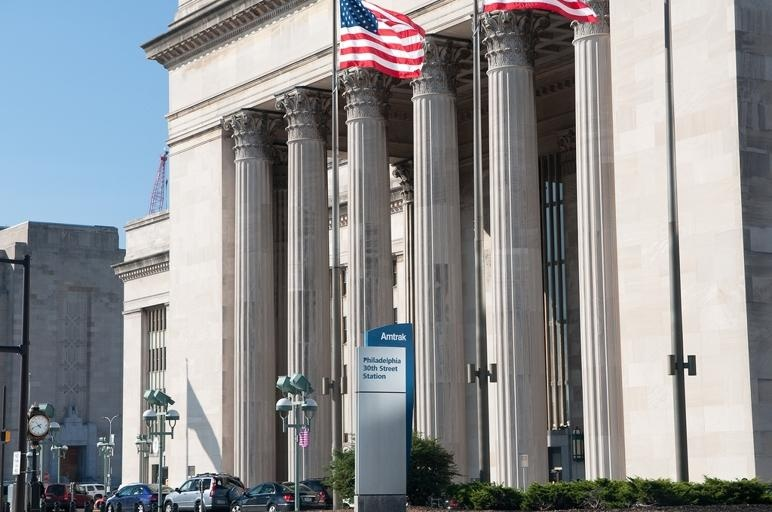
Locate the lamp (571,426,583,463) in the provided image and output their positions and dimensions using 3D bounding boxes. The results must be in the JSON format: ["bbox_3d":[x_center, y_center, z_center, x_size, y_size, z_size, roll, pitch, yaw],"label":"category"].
[{"bbox_3d":[9.476,9.389,92.812,0.197,1.747,0.795,13,-23,-41],"label":"lamp"}]

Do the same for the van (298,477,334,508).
[{"bbox_3d":[-3.033,11.363,89.310,1.360,1.190,2.366,0,-4,0],"label":"van"}]

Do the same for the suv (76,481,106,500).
[{"bbox_3d":[-18.994,15.632,124.374,1.229,0.983,2.033,-7,-19,29],"label":"suv"}]
